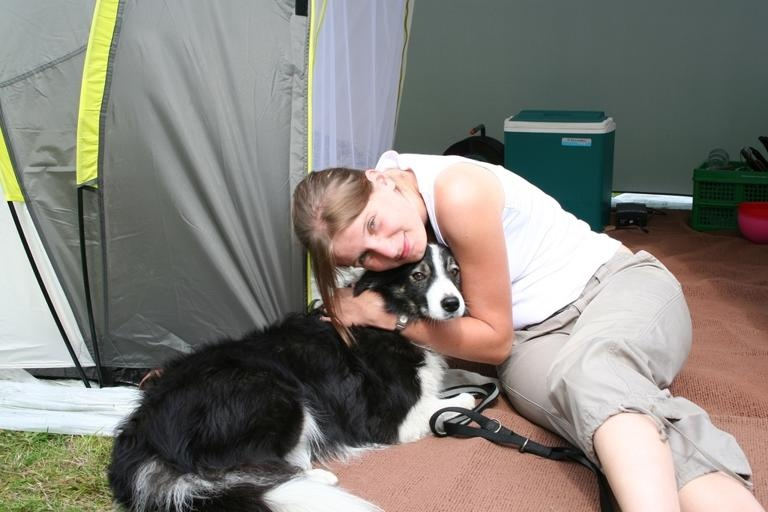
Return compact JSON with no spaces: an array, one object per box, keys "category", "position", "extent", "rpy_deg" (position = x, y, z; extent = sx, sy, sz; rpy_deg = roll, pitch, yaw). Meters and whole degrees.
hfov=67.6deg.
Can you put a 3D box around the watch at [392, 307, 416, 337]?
[{"category":"watch","position":[0.089,0.307,2.693],"extent":[0.057,0.103,0.099],"rpy_deg":[16,6,23]}]

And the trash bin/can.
[{"category":"trash bin/can","position":[1.506,-0.842,5.251],"extent":[0.859,0.958,0.593],"rpy_deg":[4,25,14]}]
